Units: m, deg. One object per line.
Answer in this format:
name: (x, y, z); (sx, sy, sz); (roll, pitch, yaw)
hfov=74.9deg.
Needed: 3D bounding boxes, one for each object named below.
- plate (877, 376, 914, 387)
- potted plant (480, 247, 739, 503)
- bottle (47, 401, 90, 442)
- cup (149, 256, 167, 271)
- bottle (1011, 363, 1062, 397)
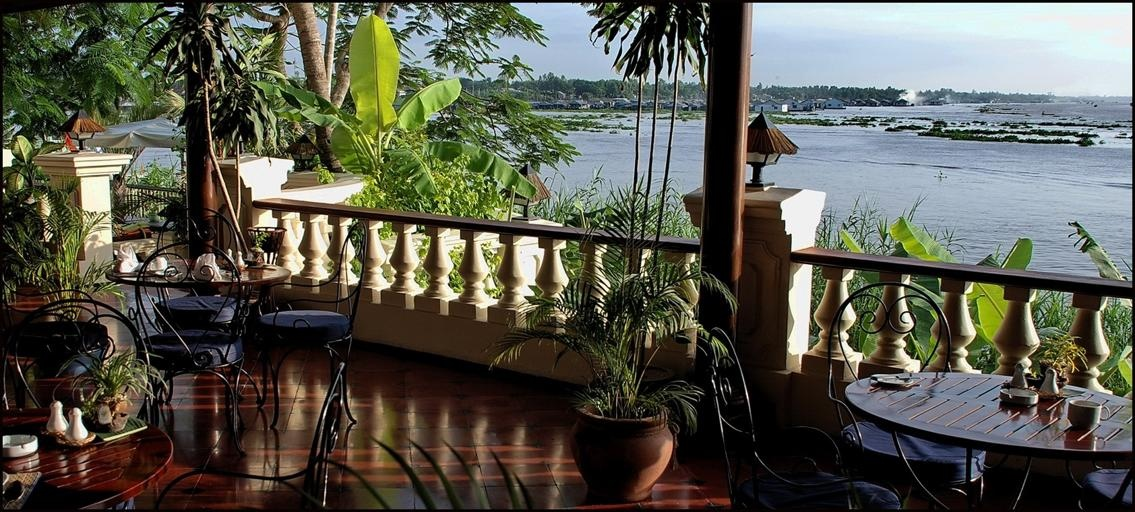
plate: (3.111, 1.182, 6.985); (0.262, 0.045, 0.126); (7, 31, 3)
potted plant: (0.659, 1.192, 7.721); (1.891, 2.391, 1.359); (5, 11, 16)
bottle: (-4.300, 1.437, 6.379); (0.433, 0.228, 0.212); (6, 2, 21)
cup: (-4.753, 0.098, 8.655); (0.193, 0.129, 0.211); (1, 0, 0)
bottle: (4.373, 1.160, 6.863); (0.374, 0.159, 0.146); (-1, -11, 32)
